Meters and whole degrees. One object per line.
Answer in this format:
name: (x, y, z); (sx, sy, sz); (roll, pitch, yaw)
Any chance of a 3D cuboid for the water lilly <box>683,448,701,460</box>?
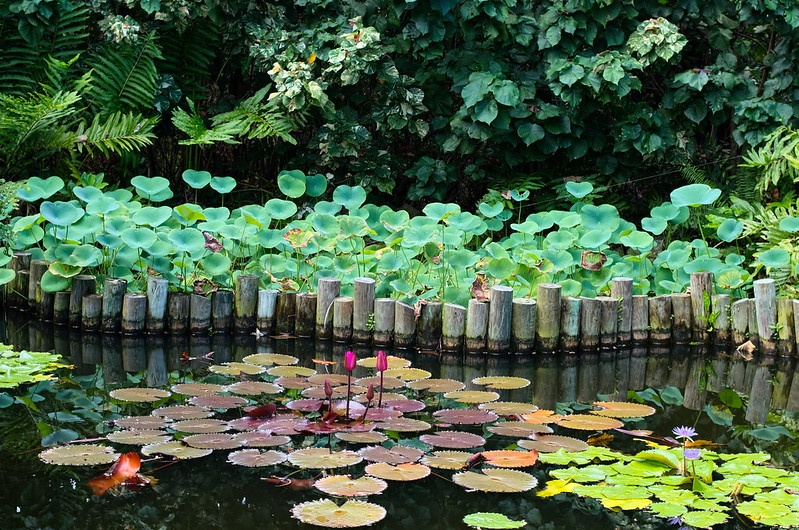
water lilly: (1.802, 1.160, 7.696); (0.101, 0.046, 0.103); (-6, -1, 5)
